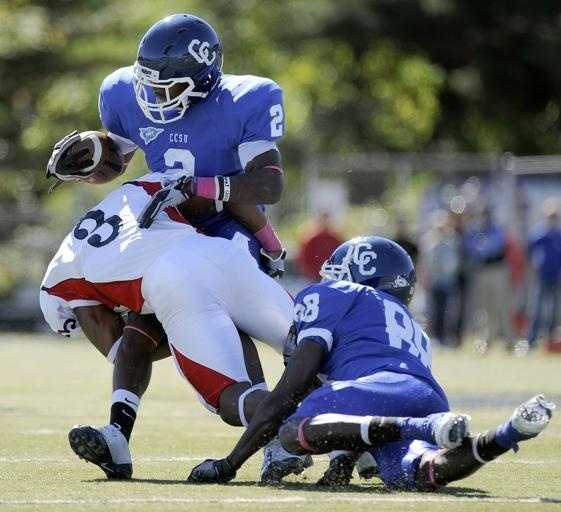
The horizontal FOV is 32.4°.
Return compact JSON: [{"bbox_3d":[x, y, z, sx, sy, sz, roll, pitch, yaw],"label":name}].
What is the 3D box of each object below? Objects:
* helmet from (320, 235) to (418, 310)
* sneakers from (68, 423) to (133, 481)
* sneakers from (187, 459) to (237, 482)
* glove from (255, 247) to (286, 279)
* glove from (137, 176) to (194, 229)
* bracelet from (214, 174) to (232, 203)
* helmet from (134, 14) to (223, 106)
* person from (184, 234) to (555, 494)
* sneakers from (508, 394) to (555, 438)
[{"bbox_3d":[0.414,0.043,4.050,0.419,0.255,0.287,-1,10,26],"label":"helmet"},{"bbox_3d":[-0.667,0.726,3.672,0.140,0.328,0.164,-9,47,16],"label":"sneakers"},{"bbox_3d":[-0.251,0.805,3.588,0.219,0.065,0.087,-5,10,10],"label":"sneakers"},{"bbox_3d":[-0.039,0.032,4.387,0.162,0.118,0.107,0,11,1],"label":"glove"},{"bbox_3d":[-0.482,-0.226,3.964,0.230,0.135,0.048,-45,72,1],"label":"glove"},{"bbox_3d":[-0.237,-0.279,3.956,0.044,0.070,0.091,6,50,4],"label":"bracelet"},{"bbox_3d":[-0.424,-0.848,4.126,0.400,0.375,0.270,-3,12,-14],"label":"helmet"},{"bbox_3d":[0.560,0.514,4.878,1.344,0.549,0.972,-28,32,34],"label":"person"},{"bbox_3d":[0.842,0.527,3.180,0.162,0.060,0.121,-39,44,-21],"label":"sneakers"}]
